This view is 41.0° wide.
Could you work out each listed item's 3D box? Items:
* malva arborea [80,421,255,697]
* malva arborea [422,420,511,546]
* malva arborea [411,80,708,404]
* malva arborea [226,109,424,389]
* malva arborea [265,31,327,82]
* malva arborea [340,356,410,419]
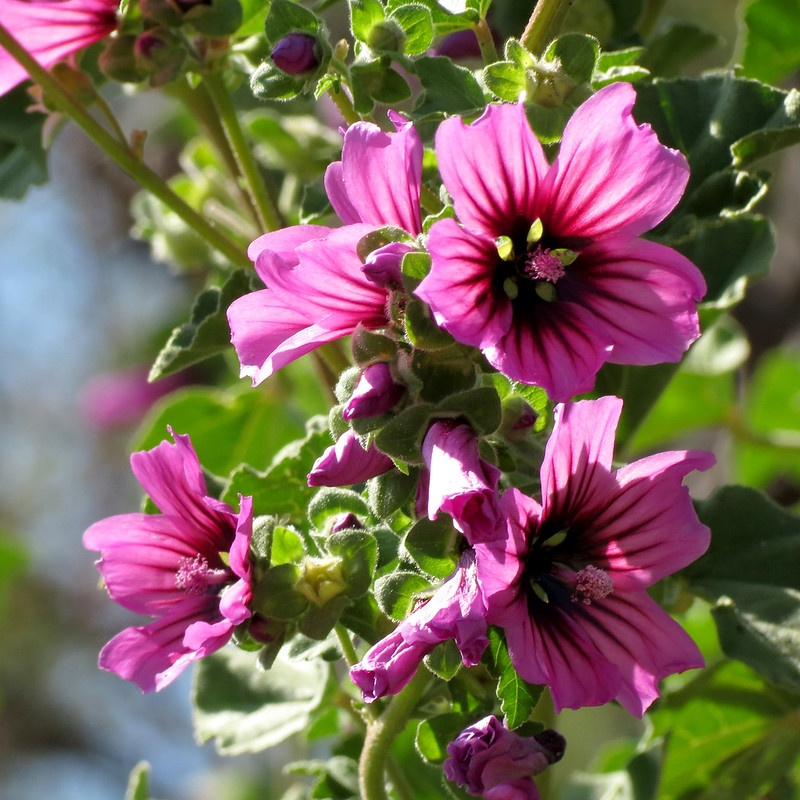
[{"bbox_3d":[-0.156,0.121,0.779,0.069,0.167,0.190,18,53,-20],"label":"malva arborea"},{"bbox_3d":[0.040,0.058,0.627,0.041,0.035,0.077,-24,5,5],"label":"malva arborea"},{"bbox_3d":[0.076,-0.090,0.703,0.092,0.172,0.212,-3,22,-39],"label":"malva arborea"},{"bbox_3d":[-0.048,-0.096,0.697,0.129,0.159,0.111,-2,36,1],"label":"malva arborea"},{"bbox_3d":[-0.071,-0.243,0.754,0.036,0.027,0.029,-1,15,26],"label":"malva arborea"},{"bbox_3d":[-0.018,-0.004,0.652,0.045,0.021,0.024,-30,45,-33],"label":"malva arborea"}]
